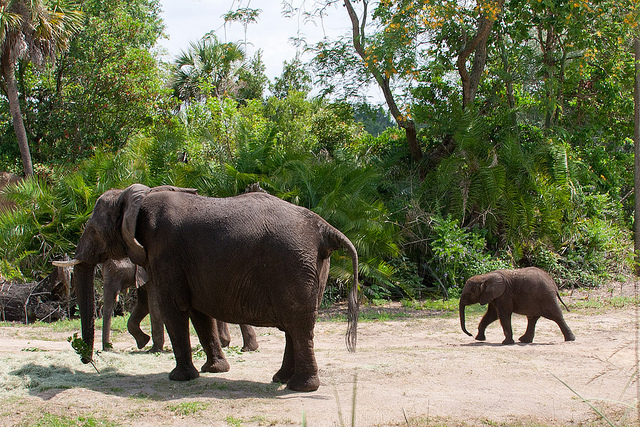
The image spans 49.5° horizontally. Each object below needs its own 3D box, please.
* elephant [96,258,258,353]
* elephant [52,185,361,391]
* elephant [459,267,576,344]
[{"bbox_3d":[-3.384,2.007,15.353,3.543,2.307,1.471,3,-4,-22],"label":"elephant"},{"bbox_3d":[-1.656,0.329,14.157,6.479,4.733,3.379,2,6,11],"label":"elephant"},{"bbox_3d":[4.461,2.112,15.800,2.458,1.867,0.987,-2,6,16],"label":"elephant"}]
